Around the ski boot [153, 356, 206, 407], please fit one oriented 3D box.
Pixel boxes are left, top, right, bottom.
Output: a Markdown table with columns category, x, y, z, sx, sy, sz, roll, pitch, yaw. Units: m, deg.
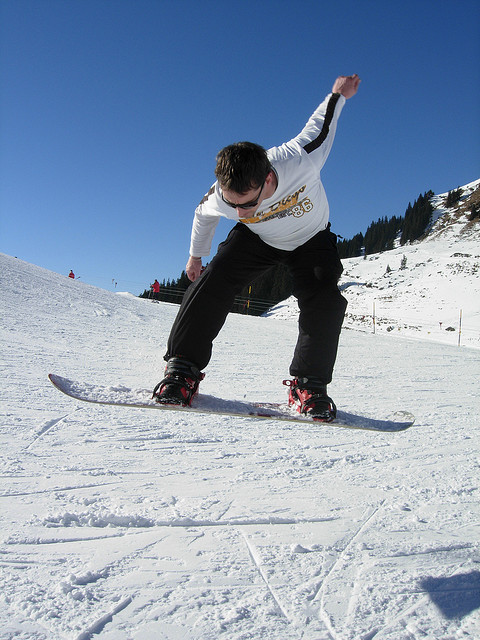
| category | x | y | z | sx | sy | sz | roll | pitch | yaw |
| --- | --- | --- | --- | --- | --- | --- | --- | --- | --- |
| ski boot | -0.295 | 0.275 | 2.235 | 0.190 | 0.203 | 0.178 | 3 | 3 | -1 |

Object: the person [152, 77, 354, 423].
| category | x | y | z | sx | sy | sz | roll | pitch | yaw |
| --- | --- | --- | --- | --- | --- | --- | --- | --- | --- |
| person | 0.095 | -0.413 | 2.337 | 0.835 | 1.725 | 0.842 | 4 | 4 | 11 |

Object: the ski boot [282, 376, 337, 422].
| category | x | y | z | sx | sy | sz | roll | pitch | yaw |
| --- | --- | --- | --- | --- | --- | --- | --- | --- | --- |
| ski boot | 0.343 | 0.378 | 2.394 | 0.141 | 0.140 | 0.291 | 3 | 16 | -11 |
